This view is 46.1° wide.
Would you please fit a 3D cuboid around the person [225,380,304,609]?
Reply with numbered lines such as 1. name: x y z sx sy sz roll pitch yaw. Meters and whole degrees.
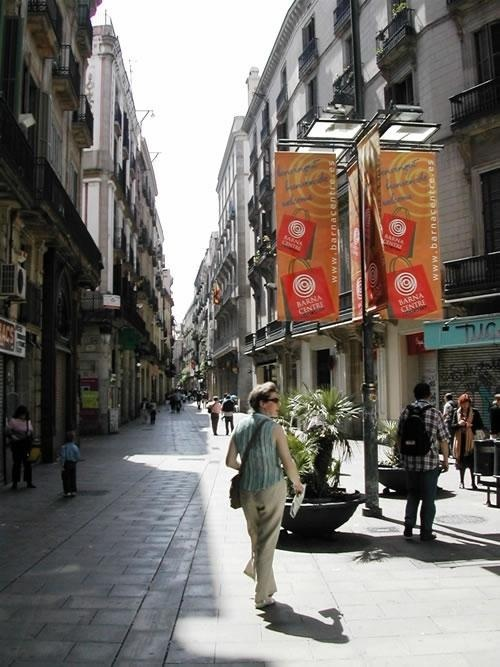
1. person: 0.096 1.139 4.253 0.543 1.569 0.341 -3 -7 13

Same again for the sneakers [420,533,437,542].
1. sneakers: 1.904 2.175 6.280 0.169 0.088 0.082 -2 -7 -5

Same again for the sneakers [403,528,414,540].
1. sneakers: 1.738 2.209 6.451 0.084 0.095 0.154 6 26 14

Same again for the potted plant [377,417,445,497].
1. potted plant: 2.436 2.189 10.131 0.838 1.150 0.898 6 -9 -30

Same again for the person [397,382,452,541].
1. person: 1.940 1.419 6.614 0.576 1.713 0.643 -4 -7 21

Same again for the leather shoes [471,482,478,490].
1. leather shoes: 3.896 2.641 10.222 0.108 0.132 0.437 -4 -8 20

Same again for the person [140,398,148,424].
1. person: -6.176 4.642 34.909 0.391 1.399 2.011 0 -7 -11

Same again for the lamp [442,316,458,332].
1. lamp: 5.643 -0.269 16.680 0.315 0.289 0.370 -2 17 -27

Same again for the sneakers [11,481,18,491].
1. sneakers: -4.424 2.869 11.083 0.115 0.135 0.669 1 -8 -22

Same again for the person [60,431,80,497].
1. person: -3.176 2.282 10.402 0.266 1.060 1.882 0 -8 -16

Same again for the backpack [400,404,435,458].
1. backpack: 1.878 1.078 6.626 0.308 0.575 0.328 6 0 5

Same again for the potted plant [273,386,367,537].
1. potted plant: 0.819 1.401 6.853 1.002 1.665 1.092 5 5 20

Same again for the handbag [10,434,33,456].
1. handbag: -4.349 2.147 11.322 0.432 0.488 0.341 2 2 -12

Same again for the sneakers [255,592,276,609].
1. sneakers: 0.116 1.858 4.064 0.169 0.079 0.112 4 -9 -39
